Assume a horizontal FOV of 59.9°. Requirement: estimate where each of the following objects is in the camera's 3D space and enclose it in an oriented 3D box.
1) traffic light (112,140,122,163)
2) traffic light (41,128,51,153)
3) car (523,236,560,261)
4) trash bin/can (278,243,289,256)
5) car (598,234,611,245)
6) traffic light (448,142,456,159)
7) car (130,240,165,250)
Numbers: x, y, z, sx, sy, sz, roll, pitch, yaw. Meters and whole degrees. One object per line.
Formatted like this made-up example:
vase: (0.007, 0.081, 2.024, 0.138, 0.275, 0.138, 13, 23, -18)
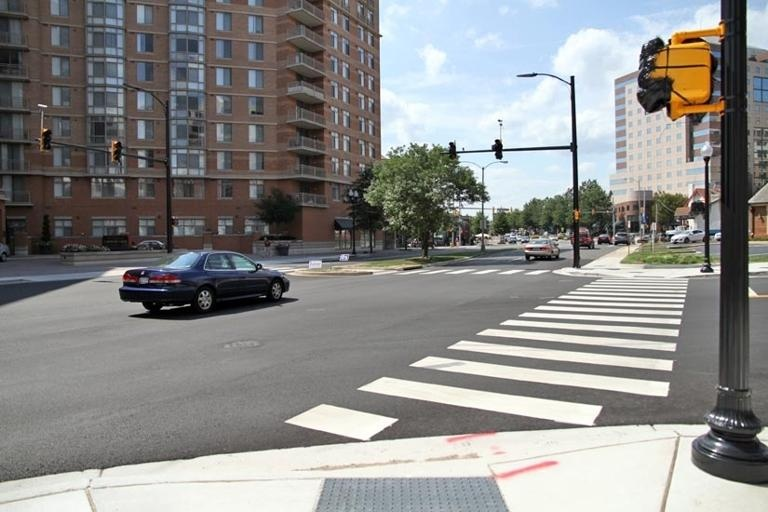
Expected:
traffic light: (-12.306, -4.867, 30.667, 0.369, 0.924, 1.056, -7, 14, -22)
traffic light: (-14.417, -4.996, 28.429, 0.359, 0.876, 1.441, -8, 15, -29)
car: (10.482, -0.534, 43.375, 1.233, 0.889, 2.808, 0, 6, 23)
trash bin/can: (-8.201, -0.579, 54.602, 0.745, 0.783, 0.933, -2, 1, 27)
car: (25.751, -1.981, 77.314, 1.036, 0.945, 2.341, -2, 0, 27)
traffic light: (3.216, -4.904, 30.827, 0.240, 0.735, 0.614, 1, 13, 12)
car: (-19.067, -0.950, 53.488, 1.941, 0.637, 0.878, 3, -1, -23)
